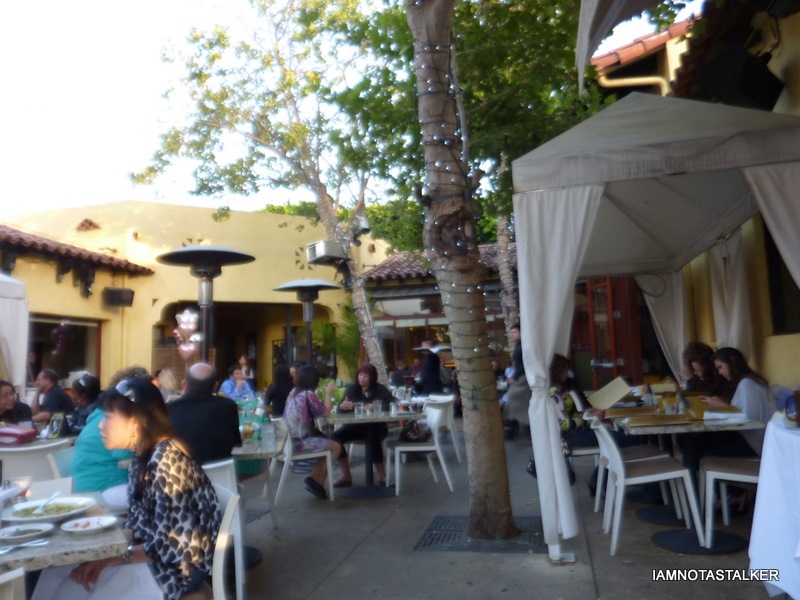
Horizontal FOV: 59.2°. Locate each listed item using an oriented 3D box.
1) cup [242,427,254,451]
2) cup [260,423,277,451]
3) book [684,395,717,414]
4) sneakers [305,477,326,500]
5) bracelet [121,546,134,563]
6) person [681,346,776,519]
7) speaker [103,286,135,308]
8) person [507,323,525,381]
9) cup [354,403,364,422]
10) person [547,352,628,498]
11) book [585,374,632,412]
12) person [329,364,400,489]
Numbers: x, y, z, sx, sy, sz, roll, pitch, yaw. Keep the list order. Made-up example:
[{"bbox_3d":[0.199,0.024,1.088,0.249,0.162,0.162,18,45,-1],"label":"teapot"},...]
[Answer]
[{"bbox_3d":[-1.406,1.260,6.506,0.150,0.258,0.152,-3,-15,-1],"label":"cup"},{"bbox_3d":[-1.222,1.292,6.676,0.168,0.353,0.181,1,-8,0],"label":"cup"},{"bbox_3d":[2.804,0.980,6.621,0.299,0.243,0.250,-4,-5,11],"label":"book"},{"bbox_3d":[-0.998,2.192,8.258,0.109,0.317,0.160,-40,4,-39],"label":"sneakers"},{"bbox_3d":[-1.704,1.584,4.409,0.053,0.112,0.126,-3,1,-36],"label":"bracelet"},{"bbox_3d":[3.245,1.188,6.985,0.727,1.426,0.644,2,-8,19],"label":"person"},{"bbox_3d":[-6.399,-0.068,15.966,0.352,0.361,0.479,1,0,36],"label":"speaker"},{"bbox_3d":[1.775,0.819,10.916,0.211,0.917,0.293,-19,-25,40],"label":"person"},{"bbox_3d":[-0.499,1.330,8.426,0.128,0.241,0.138,3,-4,0],"label":"cup"},{"bbox_3d":[2.141,1.636,7.949,0.601,0.925,0.637,9,-9,-12],"label":"person"},{"bbox_3d":[2.149,0.953,7.275,0.332,0.085,0.369,-41,-3,11],"label":"book"},{"bbox_3d":[-0.460,1.717,9.362,0.809,1.672,0.903,-9,-32,14],"label":"person"}]
